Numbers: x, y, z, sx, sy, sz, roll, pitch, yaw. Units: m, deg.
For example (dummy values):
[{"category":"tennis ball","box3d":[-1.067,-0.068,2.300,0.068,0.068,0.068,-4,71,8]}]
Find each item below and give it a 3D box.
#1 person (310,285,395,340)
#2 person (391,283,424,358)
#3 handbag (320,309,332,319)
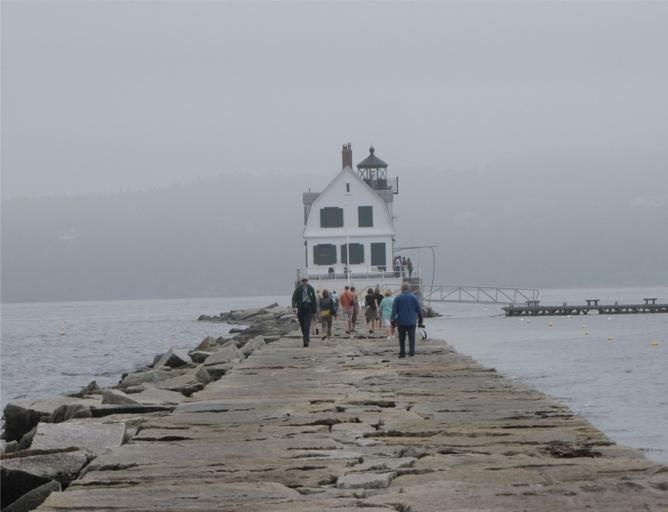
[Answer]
[{"category":"person","box3d":[0.554,1.930,25.972,1.929,1.515,0.464,0,9,-1]},{"category":"person","box3d":[1.578,1.406,17.282,0.615,1.581,1.520,-3,-6,4]},{"category":"handbag","box3d":[-0.283,1.670,22.882,0.237,0.164,0.229,-1,-1,-17]}]
